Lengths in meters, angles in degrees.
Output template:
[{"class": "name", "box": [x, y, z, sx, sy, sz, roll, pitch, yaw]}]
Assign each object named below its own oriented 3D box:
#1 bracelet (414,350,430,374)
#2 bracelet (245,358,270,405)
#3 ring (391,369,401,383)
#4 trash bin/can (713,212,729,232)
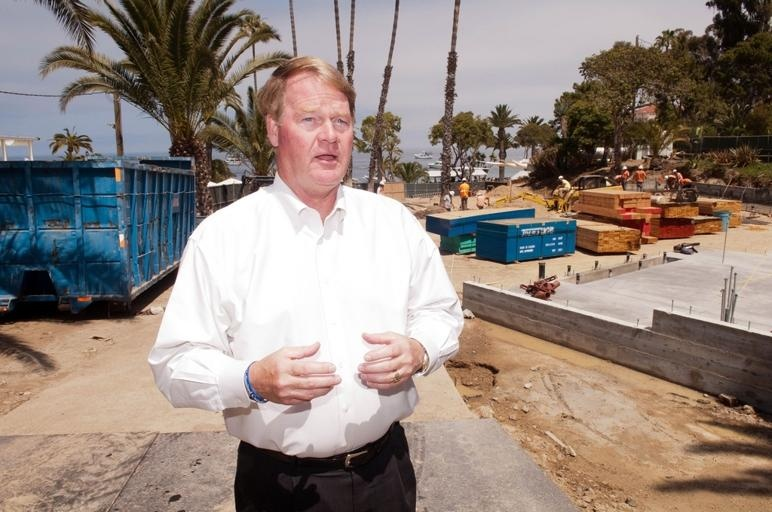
[{"class": "bracelet", "box": [0.240, 0.680, 2.813, 0.118, 0.138, 0.056, -8, -25, 17]}, {"class": "bracelet", "box": [-0.763, 0.741, 2.541, 0.176, 0.203, 0.063, 4, -1, -27]}, {"class": "ring", "box": [0.064, 0.731, 2.629, 0.020, 0.057, 0.049, 12, -2, 16]}, {"class": "trash bin/can", "box": [19.142, -1.942, 24.805, 0.593, 1.081, 1.166, 3, 10, 36]}]
